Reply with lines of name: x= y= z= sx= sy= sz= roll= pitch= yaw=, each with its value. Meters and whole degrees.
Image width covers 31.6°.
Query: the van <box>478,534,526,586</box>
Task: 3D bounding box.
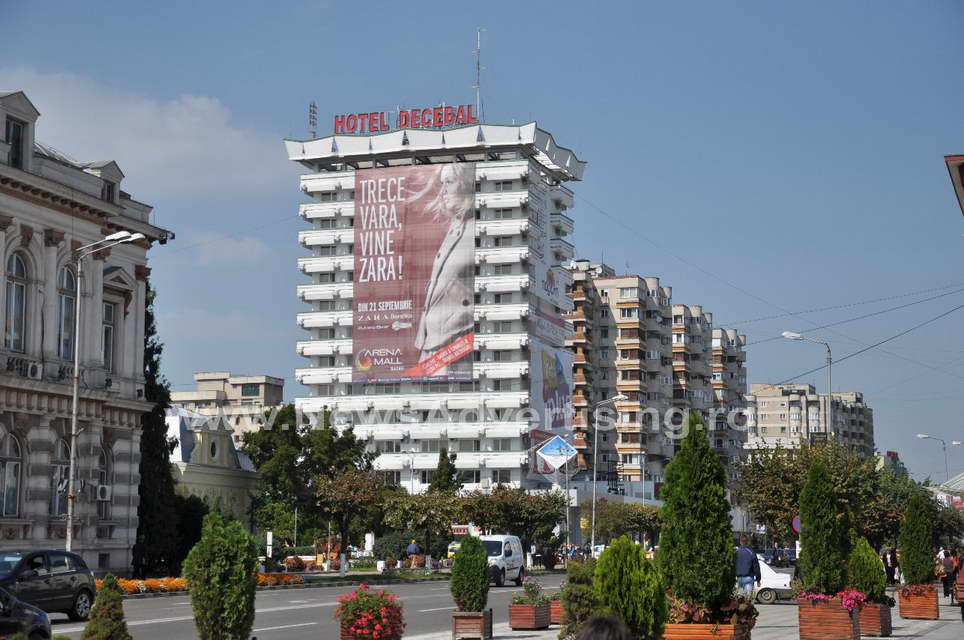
van: x=1.125 y=12.922 z=92.038 sx=1.417 sy=2.745 sz=4.675 roll=-3 pitch=-12 yaw=10
